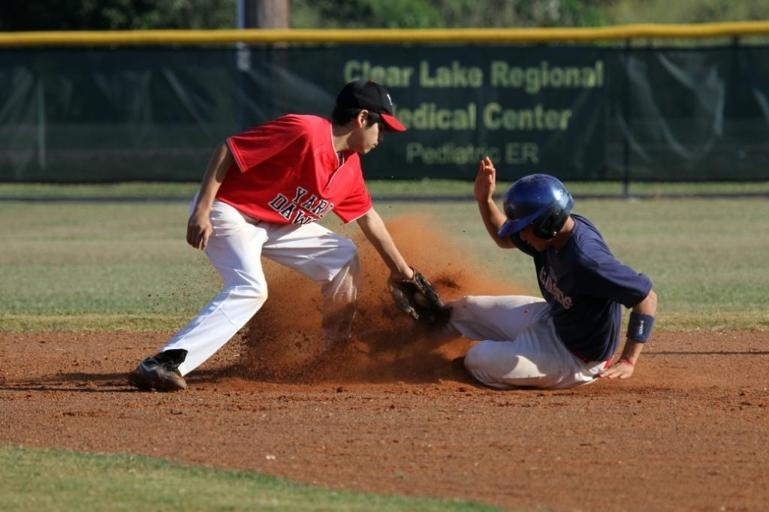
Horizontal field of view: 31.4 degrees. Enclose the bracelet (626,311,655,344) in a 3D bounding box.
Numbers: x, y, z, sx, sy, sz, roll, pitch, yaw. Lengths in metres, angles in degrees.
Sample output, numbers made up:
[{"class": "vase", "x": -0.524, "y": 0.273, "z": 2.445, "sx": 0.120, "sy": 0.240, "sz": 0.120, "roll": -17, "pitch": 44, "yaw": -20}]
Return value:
[{"class": "bracelet", "x": 2.539, "y": 0.730, "z": 13.773, "sx": 0.302, "sy": 0.305, "sz": 0.306, "roll": 4, "pitch": 6, "yaw": -7}]
